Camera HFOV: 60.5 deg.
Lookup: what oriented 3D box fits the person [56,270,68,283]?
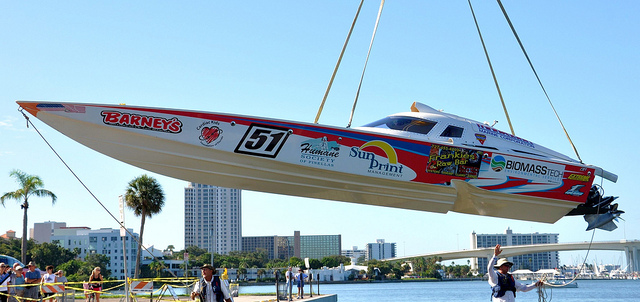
[{"bbox_3d":[-19.785,9.666,42.270,0.718,0.855,1.534,5,-14,-24],"label":"person"}]

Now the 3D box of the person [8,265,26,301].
[{"bbox_3d":[-22.238,9.725,40.306,1.085,2.523,0.854,-13,-19,38],"label":"person"}]
